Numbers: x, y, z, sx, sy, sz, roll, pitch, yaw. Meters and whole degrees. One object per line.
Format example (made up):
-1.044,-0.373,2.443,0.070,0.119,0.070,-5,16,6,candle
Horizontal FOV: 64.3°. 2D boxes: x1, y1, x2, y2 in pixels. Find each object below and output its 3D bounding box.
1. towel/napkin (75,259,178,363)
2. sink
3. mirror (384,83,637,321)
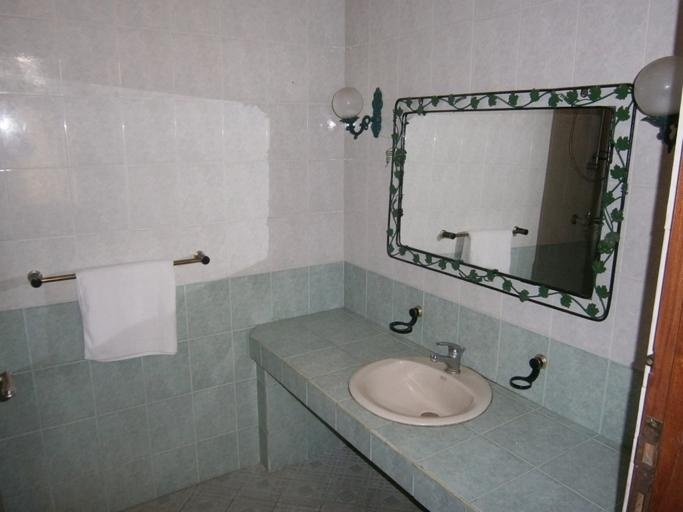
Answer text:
-0.971,0.249,2.528,0.439,0.470,0.149,-3,10,-24,towel/napkin
0.326,0.594,2.268,0.581,0.168,0.466,2,14,16,sink
0.696,-0.224,2.168,0.020,0.733,0.973,-9,17,-31,mirror
